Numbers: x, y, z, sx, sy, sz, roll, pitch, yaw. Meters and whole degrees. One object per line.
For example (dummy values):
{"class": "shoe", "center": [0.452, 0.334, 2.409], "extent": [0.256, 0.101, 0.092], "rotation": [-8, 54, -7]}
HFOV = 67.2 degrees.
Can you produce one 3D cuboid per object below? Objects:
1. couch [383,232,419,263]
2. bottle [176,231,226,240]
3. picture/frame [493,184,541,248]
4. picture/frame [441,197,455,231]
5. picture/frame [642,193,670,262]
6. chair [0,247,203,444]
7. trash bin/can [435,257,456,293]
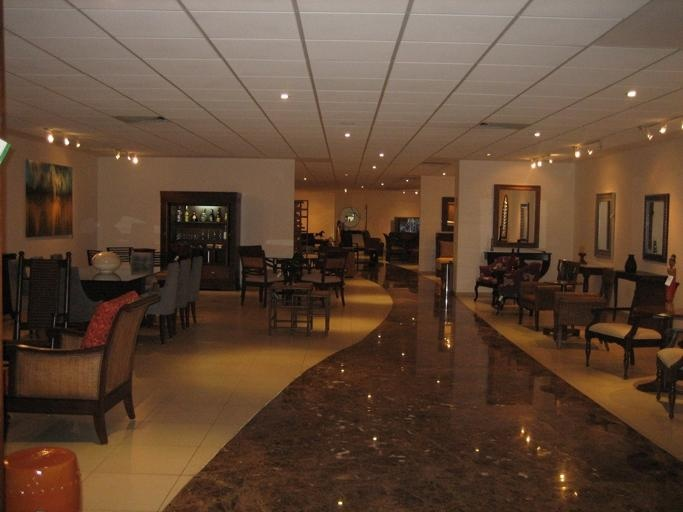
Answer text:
{"class": "couch", "center": [2.729, -0.434, 22.940], "extent": [1.450, 1.232, 2.582], "rotation": [1, 3, 7]}
{"class": "bottle", "center": [-3.296, -0.494, 12.105], "extent": [1.236, 0.194, 0.077], "rotation": [1, 3, 6]}
{"class": "picture/frame", "center": [4.141, -1.007, 12.237], "extent": [1.639, 1.972, 0.142], "rotation": [0, 1, -6]}
{"class": "picture/frame", "center": [3.501, -1.377, 16.780], "extent": [0.393, 1.123, 0.883], "rotation": [1, 3, 5]}
{"class": "picture/frame", "center": [5.539, -0.490, 9.063], "extent": [0.940, 1.160, 0.066], "rotation": [-3, 5, -35]}
{"class": "chair", "center": [-2.025, 0.907, 4.999], "extent": [1.413, 1.574, 1.187], "rotation": [2, 2, 4]}
{"class": "trash bin/can", "center": [2.780, 0.501, 13.291], "extent": [0.398, 0.624, 0.369], "rotation": [0, 3, 12]}
